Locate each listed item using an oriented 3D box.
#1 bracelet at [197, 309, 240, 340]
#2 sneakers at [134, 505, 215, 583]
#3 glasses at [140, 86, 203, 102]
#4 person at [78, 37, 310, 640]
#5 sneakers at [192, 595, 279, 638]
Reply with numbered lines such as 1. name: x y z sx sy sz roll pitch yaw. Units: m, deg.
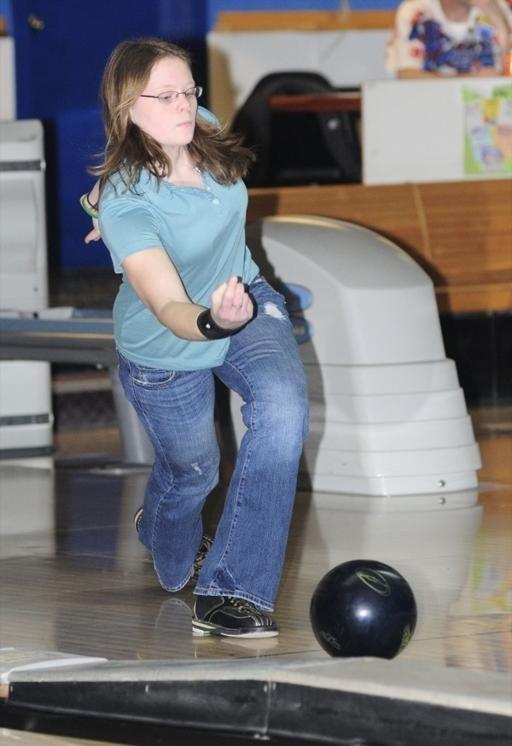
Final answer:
1. bracelet: -0.048 -0.061 1.135 0.051 0.036 0.042 8 54 3
2. sneakers: -0.187 0.409 1.911 0.103 0.262 0.122 -2 2 12
3. glasses: -0.141 -0.459 1.380 0.055 0.014 0.048 7 16 39
4. person: -0.101 0.025 1.523 0.356 1.154 0.654 -4 30 -10
5. sneakers: -0.040 0.446 1.554 0.166 0.072 0.068 -6 -10 39
